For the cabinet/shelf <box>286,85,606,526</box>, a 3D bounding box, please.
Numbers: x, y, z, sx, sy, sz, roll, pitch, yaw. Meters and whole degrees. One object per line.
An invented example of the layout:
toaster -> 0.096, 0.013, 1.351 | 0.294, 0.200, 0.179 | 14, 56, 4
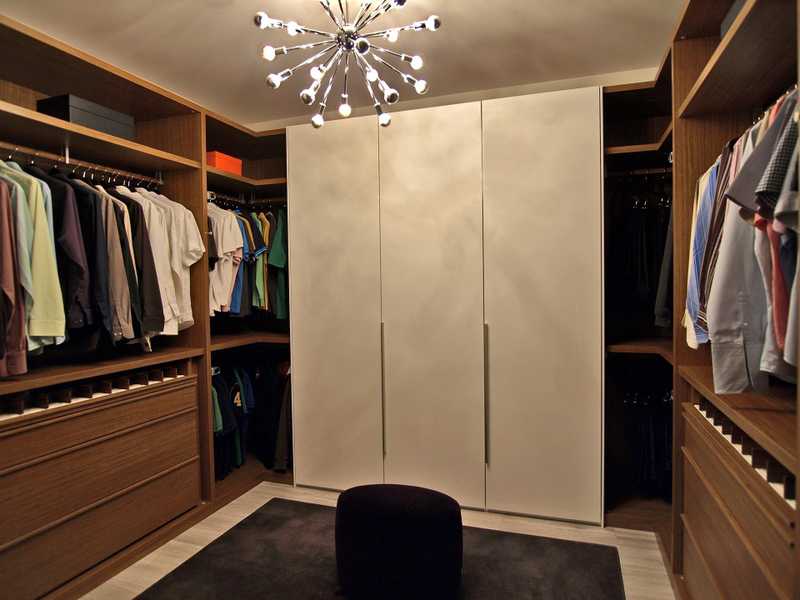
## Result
cabinet/shelf -> 0.328, 0.062, 3.567 | 2.210, 3.123, 0.881 | 1, 2, 21
